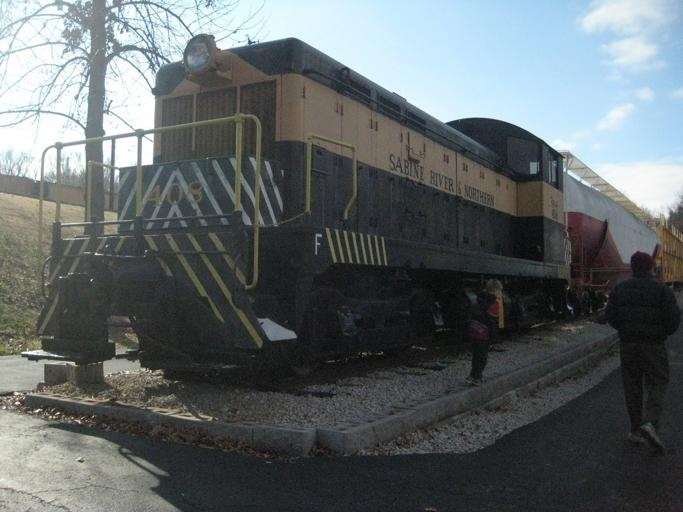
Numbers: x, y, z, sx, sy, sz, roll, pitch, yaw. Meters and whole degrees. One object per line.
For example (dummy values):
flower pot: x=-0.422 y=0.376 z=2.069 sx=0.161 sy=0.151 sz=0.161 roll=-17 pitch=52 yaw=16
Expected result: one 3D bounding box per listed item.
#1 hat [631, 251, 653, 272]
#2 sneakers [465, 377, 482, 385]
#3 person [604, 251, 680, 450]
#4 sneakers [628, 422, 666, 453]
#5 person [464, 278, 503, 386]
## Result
hat: x=3.289 y=0.062 z=5.896 sx=0.185 sy=0.253 sz=0.270 roll=-3 pitch=-9 yaw=27
sneakers: x=1.623 y=1.546 z=6.570 sx=0.197 sy=0.113 sz=0.081 roll=1 pitch=3 yaw=21
person: x=3.197 y=0.926 z=5.560 sx=0.547 sy=1.915 sz=0.861 roll=1 pitch=3 yaw=-5
sneakers: x=3.006 y=1.773 z=5.265 sx=0.201 sy=0.275 sz=0.396 roll=2 pitch=3 yaw=6
person: x=1.834 y=0.946 z=6.847 sx=0.369 sy=1.254 sz=0.728 roll=2 pitch=3 yaw=15
